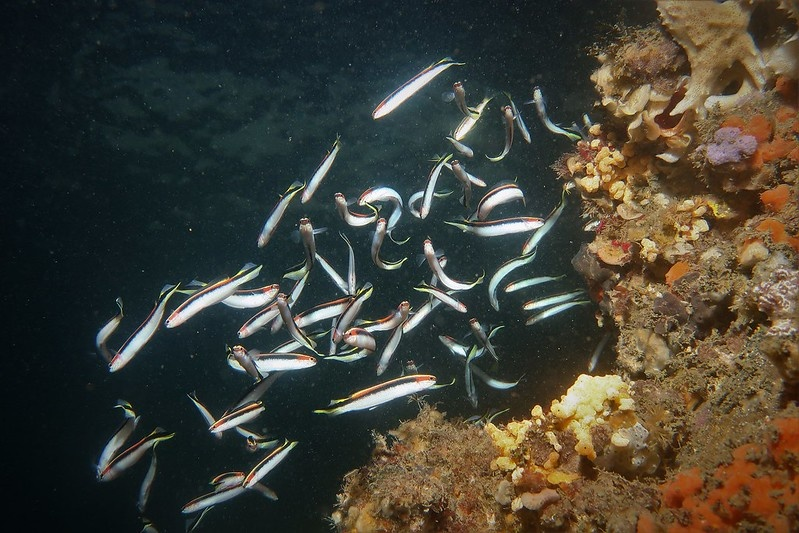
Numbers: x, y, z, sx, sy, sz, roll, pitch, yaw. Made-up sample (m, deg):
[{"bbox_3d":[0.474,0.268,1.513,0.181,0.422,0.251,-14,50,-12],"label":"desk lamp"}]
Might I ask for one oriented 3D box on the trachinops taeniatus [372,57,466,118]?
[{"bbox_3d":[0.312,-4.083,21.124,2.416,0.261,0.522,-35,56,7],"label":"trachinops taeniatus"}]
